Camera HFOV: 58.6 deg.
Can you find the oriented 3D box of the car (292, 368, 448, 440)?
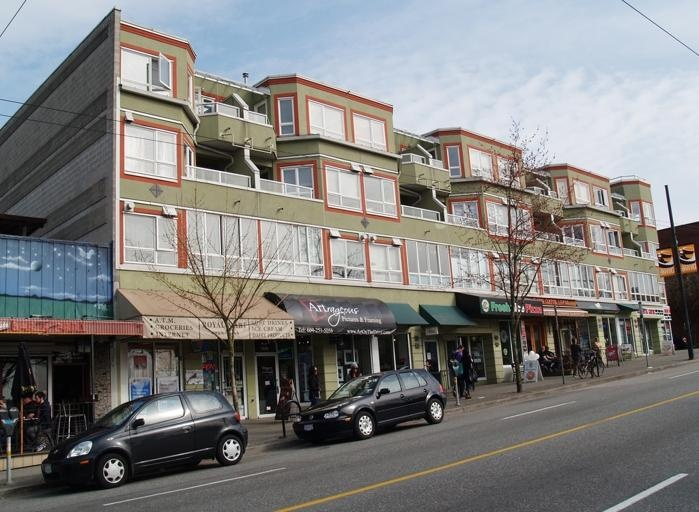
[{"bbox_3d":[0.662,4.724,19.676,4.252,1.403,2.258,6,-19,-39],"label":"car"}]
